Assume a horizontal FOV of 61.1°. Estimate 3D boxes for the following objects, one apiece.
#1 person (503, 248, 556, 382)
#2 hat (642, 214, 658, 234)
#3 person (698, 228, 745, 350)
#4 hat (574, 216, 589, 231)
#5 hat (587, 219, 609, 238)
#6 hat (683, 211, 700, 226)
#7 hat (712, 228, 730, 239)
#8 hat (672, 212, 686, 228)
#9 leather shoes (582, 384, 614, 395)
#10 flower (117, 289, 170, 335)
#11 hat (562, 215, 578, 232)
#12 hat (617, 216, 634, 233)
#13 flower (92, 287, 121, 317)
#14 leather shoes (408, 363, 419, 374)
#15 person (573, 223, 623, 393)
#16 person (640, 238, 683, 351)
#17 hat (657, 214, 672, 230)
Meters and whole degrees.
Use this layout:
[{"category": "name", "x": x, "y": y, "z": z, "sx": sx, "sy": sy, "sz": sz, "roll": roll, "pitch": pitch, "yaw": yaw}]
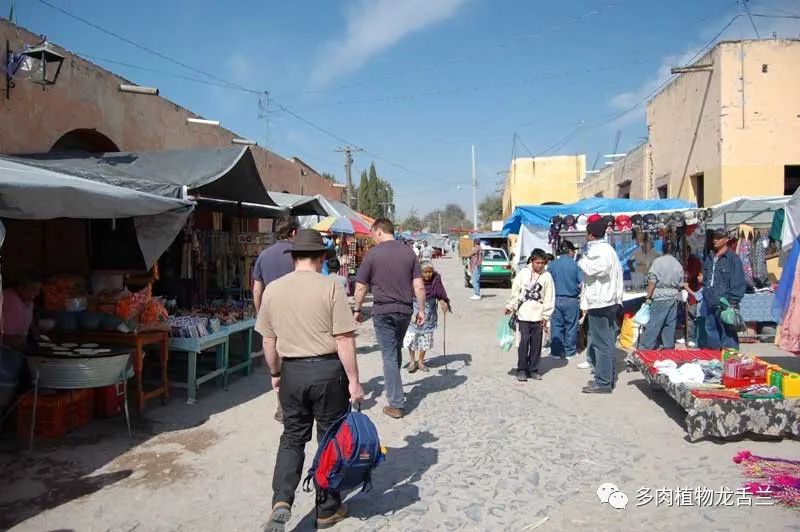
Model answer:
[{"category": "person", "x": 2.098, "y": 0.782, "z": 11.051, "sx": 0.786, "sy": 2.115, "sz": 0.516, "roll": -1, "pitch": 7, "yaw": -3}, {"category": "hat", "x": 4.727, "y": -0.808, "z": 12.866, "sx": 0.357, "sy": 0.473, "sz": 0.270, "roll": 0, "pitch": 7, "yaw": 4}, {"category": "person", "x": 5.560, "y": 0.461, "z": 11.708, "sx": 0.609, "sy": 2.203, "sz": 1.330, "roll": 2, "pitch": 7, "yaw": 21}, {"category": "hat", "x": 3.553, "y": -0.837, "z": 13.273, "sx": 0.373, "sy": 0.383, "sz": 0.164, "roll": 3, "pitch": 7, "yaw": 3}, {"category": "hat", "x": 3.102, "y": -0.608, "z": 10.629, "sx": 0.241, "sy": 0.325, "sz": 0.257, "roll": -10, "pitch": -18, "yaw": 0}, {"category": "hat", "x": 5.469, "y": -0.917, "z": 12.775, "sx": 0.237, "sy": 0.242, "sz": 0.187, "roll": 2, "pitch": 7, "yaw": 22}, {"category": "hat", "x": 5.524, "y": -0.559, "z": 11.690, "sx": 0.216, "sy": 0.114, "sz": 0.346, "roll": -1, "pitch": 7, "yaw": 15}, {"category": "hat", "x": 5.211, "y": -0.856, "z": 12.798, "sx": 0.207, "sy": 0.275, "sz": 0.274, "roll": -2, "pitch": -19, "yaw": 0}, {"category": "leather shoes", "x": 3.047, "y": 1.870, "z": 10.435, "sx": 0.416, "sy": 0.154, "sz": 0.166, "roll": 3, "pitch": 0, "yaw": 7}, {"category": "flower", "x": -3.829, "y": 0.591, "z": 9.957, "sx": 0.537, "sy": 0.329, "sz": 0.676, "roll": -3, "pitch": 26, "yaw": -30}, {"category": "hat", "x": 3.310, "y": -0.811, "z": 13.366, "sx": 0.341, "sy": 0.458, "sz": 0.250, "roll": 0, "pitch": -6, "yaw": 7}, {"category": "hat", "x": 4.293, "y": -0.804, "z": 13.056, "sx": 0.228, "sy": 0.310, "sz": 0.311, "roll": 5, "pitch": -1, "yaw": 4}, {"category": "flower", "x": -4.380, "y": 0.526, "z": 10.132, "sx": 0.431, "sy": 0.319, "sz": 0.669, "roll": -4, "pitch": 7, "yaw": -28}, {"category": "leather shoes", "x": 0.211, "y": 1.716, "z": 11.628, "sx": 0.090, "sy": 0.107, "sz": 0.268, "roll": 0, "pitch": 12, "yaw": 8}, {"category": "person", "x": 3.186, "y": 0.560, "z": 10.839, "sx": 0.646, "sy": 2.659, "sz": 1.253, "roll": 1, "pitch": 7, "yaw": 16}, {"category": "person", "x": 4.478, "y": 0.636, "z": 11.549, "sx": 0.794, "sy": 1.639, "sz": 0.443, "roll": -6, "pitch": 9, "yaw": -42}, {"category": "hat", "x": 4.950, "y": -0.837, "z": 12.728, "sx": 0.185, "sy": 0.260, "sz": 0.232, "roll": 2, "pitch": 1, "yaw": 26}]
